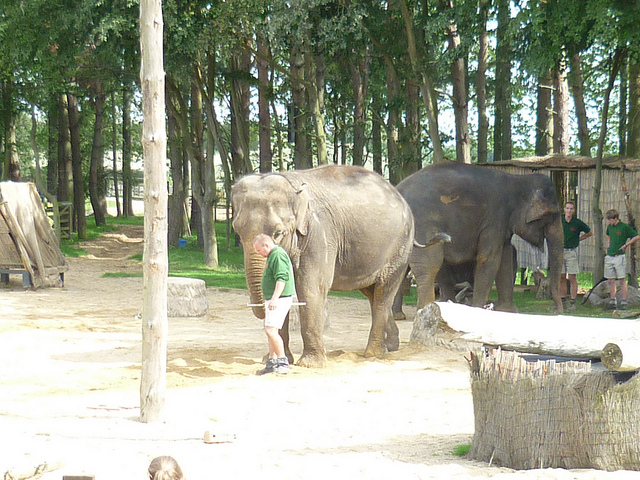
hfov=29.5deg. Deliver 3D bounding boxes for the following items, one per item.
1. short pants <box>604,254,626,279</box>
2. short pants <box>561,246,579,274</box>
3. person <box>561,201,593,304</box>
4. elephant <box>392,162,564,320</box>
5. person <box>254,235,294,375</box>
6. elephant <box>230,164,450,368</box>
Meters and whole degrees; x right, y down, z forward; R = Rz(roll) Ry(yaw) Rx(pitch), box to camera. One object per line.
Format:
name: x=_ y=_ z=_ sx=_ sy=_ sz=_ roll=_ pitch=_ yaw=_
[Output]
short pants: x=6.983 y=0.607 z=28.942 sx=0.280 sy=0.489 sz=0.466 roll=19 pitch=-19 yaw=-37
short pants: x=6.016 y=0.458 z=29.591 sx=0.343 sy=0.622 sz=0.499 roll=10 pitch=-15 yaw=-4
person: x=6.176 y=0.368 z=29.928 sx=0.635 sy=2.648 sz=1.119 roll=5 pitch=15 yaw=19
elephant: x=3.539 y=-0.003 z=27.594 sx=3.994 sy=3.572 sz=1.841 roll=0 pitch=11 yaw=-5
person: x=-0.874 y=1.168 z=22.813 sx=0.725 sy=2.568 sz=0.674 roll=-1 pitch=14 yaw=-4
elephant: x=1.298 y=-0.059 z=23.757 sx=5.507 sy=4.163 sz=2.093 roll=4 pitch=-4 yaw=-38
